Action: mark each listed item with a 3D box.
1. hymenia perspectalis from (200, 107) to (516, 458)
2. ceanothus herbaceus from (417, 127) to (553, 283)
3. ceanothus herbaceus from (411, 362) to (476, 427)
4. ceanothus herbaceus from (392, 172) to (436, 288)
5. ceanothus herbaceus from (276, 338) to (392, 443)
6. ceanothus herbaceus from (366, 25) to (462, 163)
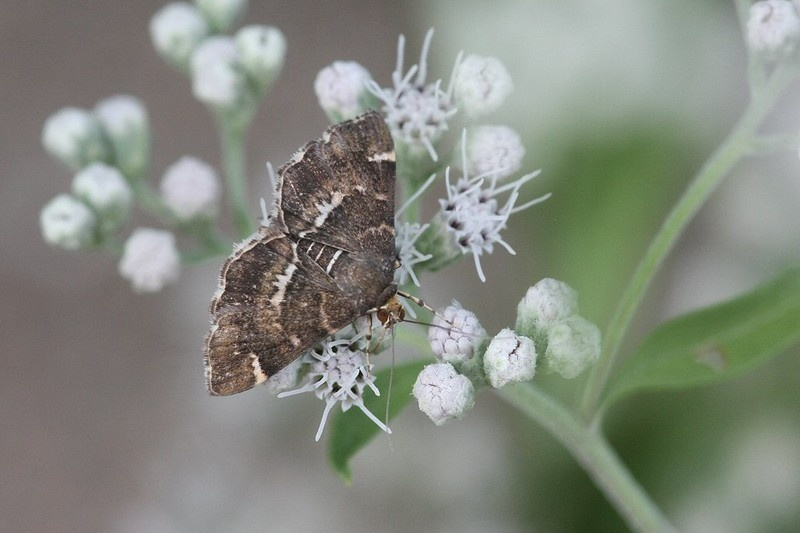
[{"bbox_3d":[-0.237,-0.018,2.164,0.628,0.634,0.107,-24,-7,-7],"label":"hymenia perspectalis"},{"bbox_3d":[0.239,-0.158,2.357,0.349,0.377,0.213,-6,2,28],"label":"ceanothus herbaceus"},{"bbox_3d":[0.110,0.303,2.143,0.142,0.139,0.091,-25,-7,-2],"label":"ceanothus herbaceus"},{"bbox_3d":[0.040,-0.071,2.269,0.083,0.317,0.083,4,-2,3],"label":"ceanothus herbaceus"},{"bbox_3d":[-0.154,0.269,2.154,0.251,0.269,0.070,10,0,1],"label":"ceanothus herbaceus"},{"bbox_3d":[0.064,-0.464,2.476,0.271,0.328,0.353,-6,20,6],"label":"ceanothus herbaceus"}]
